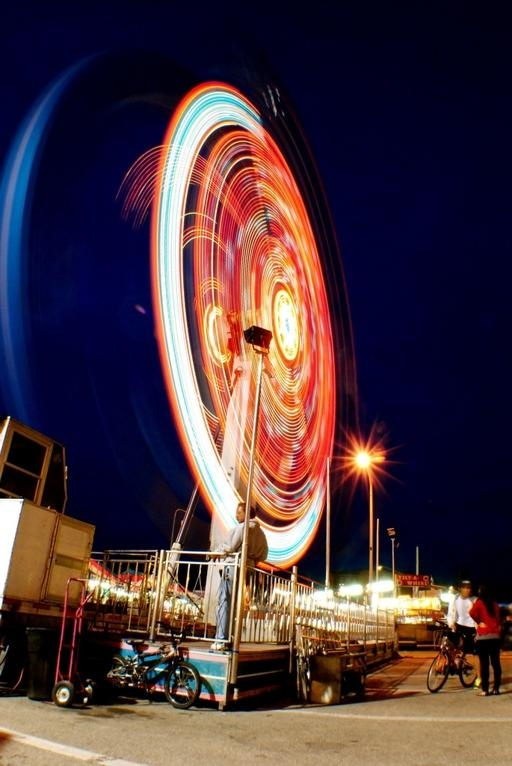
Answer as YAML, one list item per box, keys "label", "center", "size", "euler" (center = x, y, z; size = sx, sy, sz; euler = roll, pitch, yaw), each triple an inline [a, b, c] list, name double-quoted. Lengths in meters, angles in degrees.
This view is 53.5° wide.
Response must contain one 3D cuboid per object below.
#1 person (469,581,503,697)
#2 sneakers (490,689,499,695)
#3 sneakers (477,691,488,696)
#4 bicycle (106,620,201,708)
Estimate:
- label: "person"
  center: [3.476, 3.864, 7.661]
  size: [0.416, 1.504, 0.792]
  euler: [-6, -23, 26]
- label: "sneakers"
  center: [3.472, 4.496, 7.394]
  size: [0.121, 0.082, 0.316]
  euler: [-5, -30, 23]
- label: "sneakers"
  center: [3.322, 4.522, 7.412]
  size: [0.134, 0.077, 0.290]
  euler: [-6, -30, 24]
- label: "bicycle"
  center: [-1.178, 3.407, 6.180]
  size: [1.334, 1.072, 0.704]
  euler: [-21, -36, 36]
